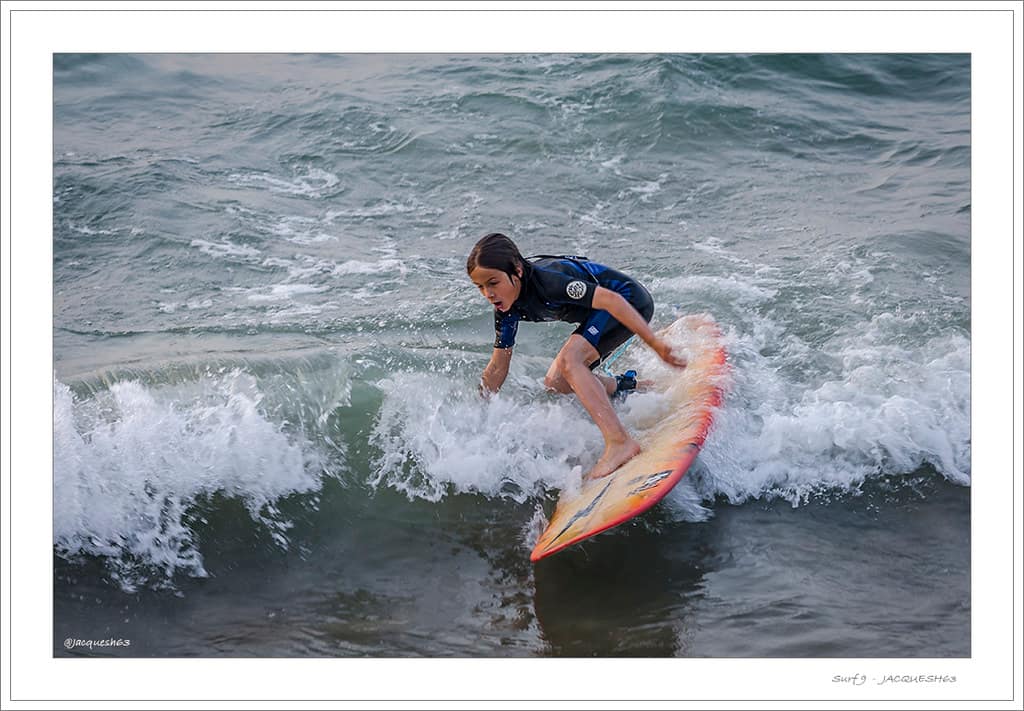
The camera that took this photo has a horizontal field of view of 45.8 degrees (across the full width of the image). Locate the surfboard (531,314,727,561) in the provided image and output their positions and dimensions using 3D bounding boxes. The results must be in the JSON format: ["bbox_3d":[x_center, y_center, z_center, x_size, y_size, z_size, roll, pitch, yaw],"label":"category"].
[{"bbox_3d":[1.294,0.560,10.064,0.851,0.272,2.901,-26,12,44],"label":"surfboard"}]
